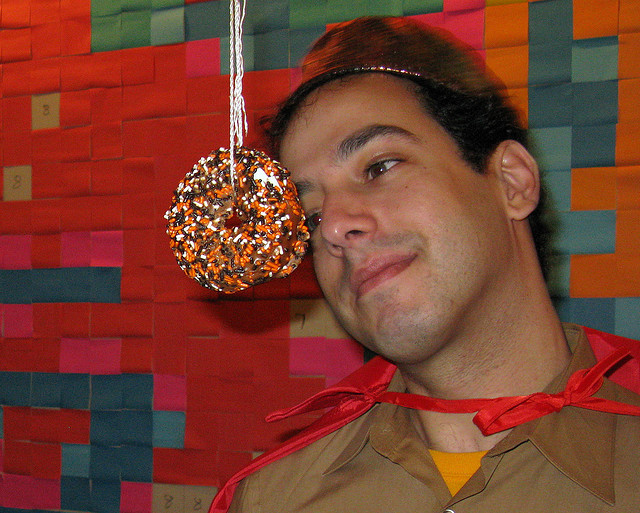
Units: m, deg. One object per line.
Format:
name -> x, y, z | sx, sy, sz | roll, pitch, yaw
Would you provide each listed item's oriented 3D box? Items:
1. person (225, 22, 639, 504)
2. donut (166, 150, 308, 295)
person -> 0.298, 0.004, 2.340 | 1.040, 0.723, 0.680 | -19, -30, 22
donut -> -0.181, -0.059, 2.207 | 0.336, 0.286, 0.123 | 1, -4, 5
